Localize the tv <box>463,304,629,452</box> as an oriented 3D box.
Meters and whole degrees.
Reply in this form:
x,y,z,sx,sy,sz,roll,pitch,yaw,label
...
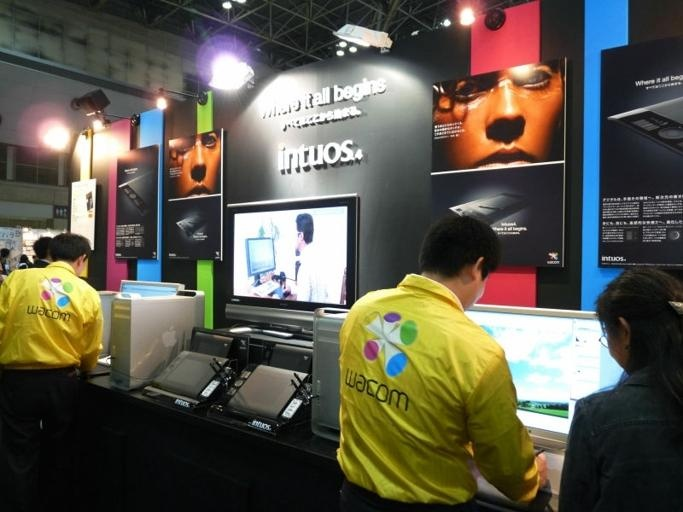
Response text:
x,y,z,sx,sy,sz,roll,pitch,yaw,label
0.707,0.428,1.720,0.537,0.422,0.155,2,-3,41,tv
